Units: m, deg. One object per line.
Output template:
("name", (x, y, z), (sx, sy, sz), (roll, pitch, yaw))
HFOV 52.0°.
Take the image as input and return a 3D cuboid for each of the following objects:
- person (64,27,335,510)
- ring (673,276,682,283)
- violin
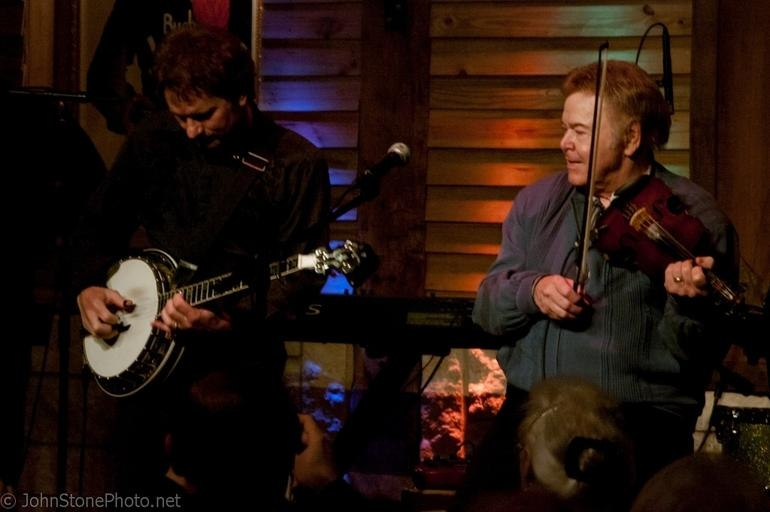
("person", (-1.102, 0.120, 4.917), (1.550, 2.866, 1.076), (6, -12, 8))
("ring", (1.515, 0.122, 4.066), (0.033, 0.025, 0.013), (-19, -17, 14))
("violin", (1.453, -0.129, 4.221), (0.892, 0.492, 0.283), (46, 9, 13))
